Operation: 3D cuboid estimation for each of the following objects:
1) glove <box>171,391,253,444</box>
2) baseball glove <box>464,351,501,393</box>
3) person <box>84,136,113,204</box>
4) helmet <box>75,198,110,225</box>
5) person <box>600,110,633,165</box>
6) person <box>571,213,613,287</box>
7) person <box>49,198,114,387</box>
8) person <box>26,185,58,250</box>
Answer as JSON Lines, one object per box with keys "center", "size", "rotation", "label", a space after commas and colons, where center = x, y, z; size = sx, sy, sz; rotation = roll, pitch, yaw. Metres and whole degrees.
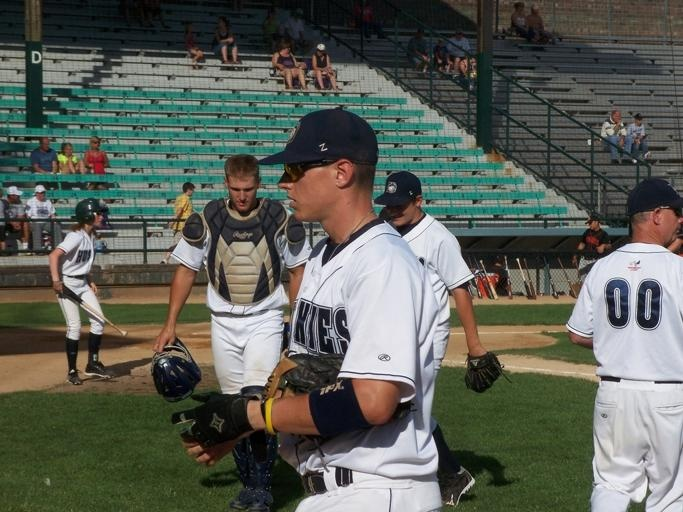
{"center": [-1.492, 1.954, 13.889], "size": [0.967, 0.490, 0.299], "rotation": [-5, -19, 11], "label": "glove"}
{"center": [2.045, 1.610, 16.633], "size": [0.574, 0.499, 0.370], "rotation": [-23, -14, 33], "label": "baseball glove"}
{"center": [-6.519, -2.356, 31.109], "size": [0.745, 1.825, 0.615], "rotation": [-3, 18, -29], "label": "person"}
{"center": [-4.408, -0.790, 20.550], "size": [0.508, 0.419, 0.347], "rotation": [-3, 10, -20], "label": "helmet"}
{"center": [8.200, -3.571, 35.239], "size": [0.834, 1.498, 4.031], "rotation": [3, 9, 13], "label": "person"}
{"center": [6.389, 0.005, 30.227], "size": [0.753, 1.888, 0.655], "rotation": [6, 3, 29], "label": "person"}
{"center": [-4.592, 0.599, 20.539], "size": [1.134, 3.147, 0.968], "rotation": [-4, 14, -41], "label": "person"}
{"center": [-7.227, -0.905, 28.172], "size": [0.829, 1.599, 0.922], "rotation": [-3, 2, -18], "label": "person"}
